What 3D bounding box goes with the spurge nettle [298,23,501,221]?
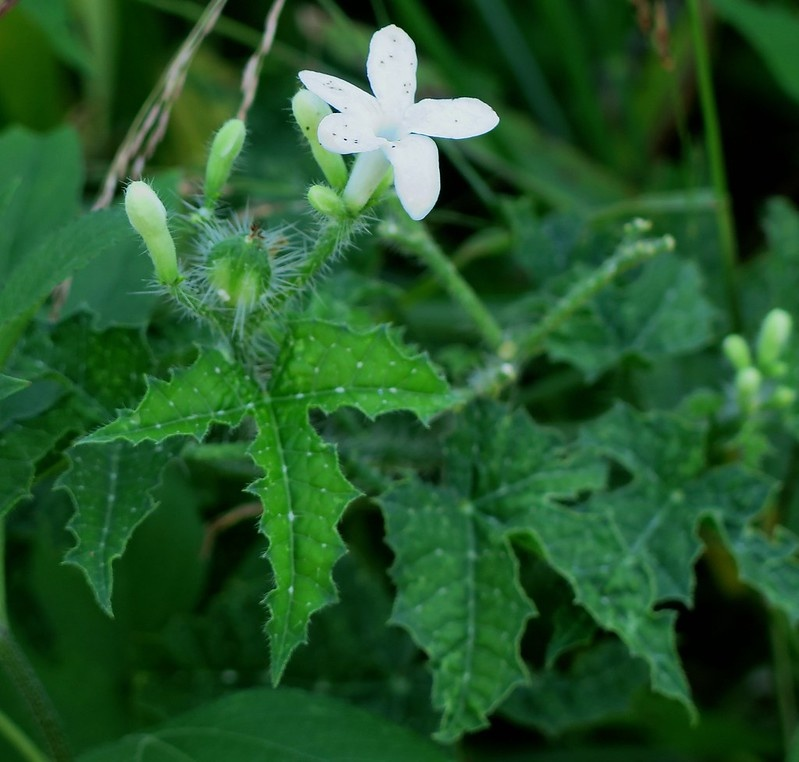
[{"bbox_3d":[-0.010,-0.202,0.757,0.153,0.072,0.196,-2,-14,16],"label":"spurge nettle"}]
